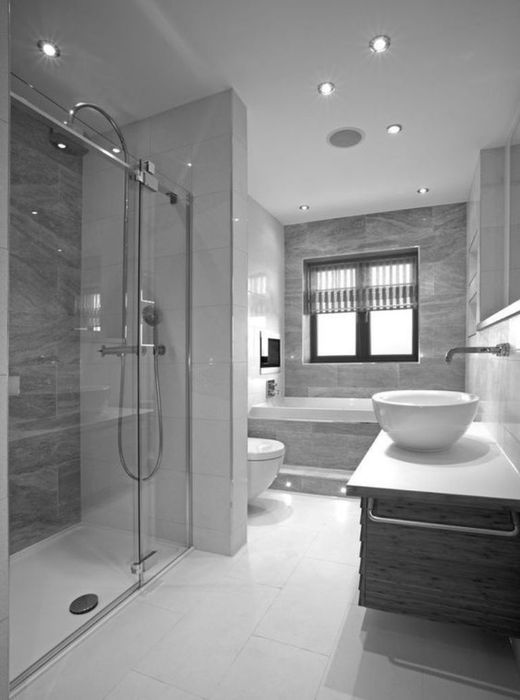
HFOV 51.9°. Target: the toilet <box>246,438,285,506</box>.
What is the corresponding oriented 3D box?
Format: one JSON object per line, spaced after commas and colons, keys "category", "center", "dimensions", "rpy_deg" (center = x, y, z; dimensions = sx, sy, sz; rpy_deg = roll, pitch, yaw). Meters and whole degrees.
{"category": "toilet", "center": [0.024, 0.736, 3.199], "dimensions": [0.274, 0.269, 0.361], "rpy_deg": [-2, -1, 6]}
